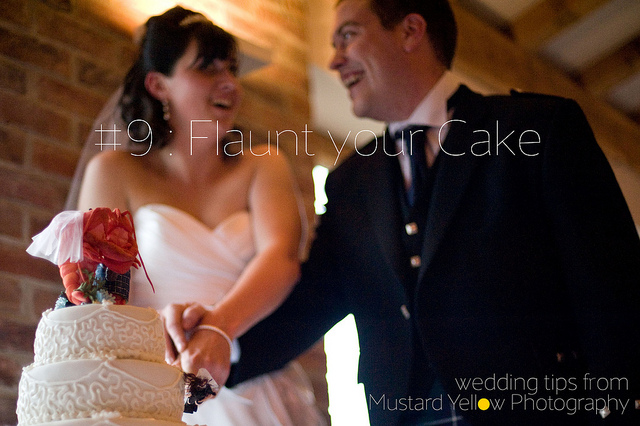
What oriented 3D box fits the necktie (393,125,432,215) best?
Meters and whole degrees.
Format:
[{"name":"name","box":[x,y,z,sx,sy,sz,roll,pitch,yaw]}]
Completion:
[{"name":"necktie","box":[0.348,-0.158,2.511,0.124,0.297,0.144,-3,8,17]}]

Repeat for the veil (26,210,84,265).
[{"name":"veil","box":[-0.793,0.092,2.062,0.146,0.143,0.178,-8,-27,2]}]

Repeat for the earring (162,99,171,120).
[{"name":"earring","box":[-0.632,-0.419,2.753,0.027,0.084,0.030,-6,6,6]}]

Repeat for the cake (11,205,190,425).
[{"name":"cake","box":[-0.673,0.374,2.269,0.693,0.817,0.675,7,-18,-26]}]

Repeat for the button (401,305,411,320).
[{"name":"button","box":[0.304,0.361,2.409,0.025,0.049,0.045,-32,-6,-1]}]
